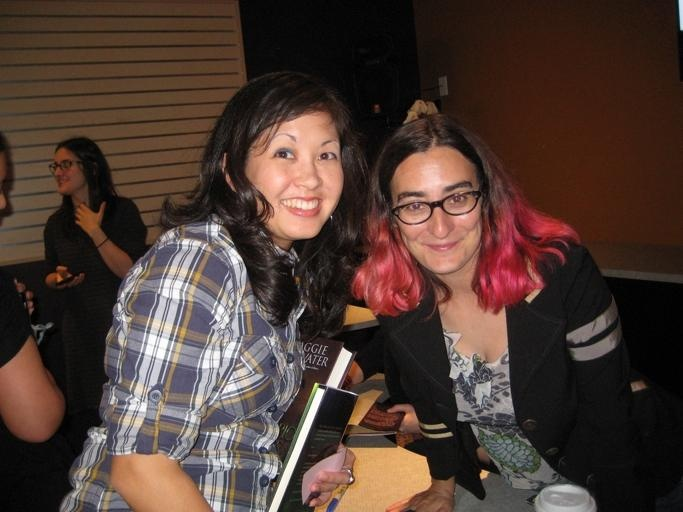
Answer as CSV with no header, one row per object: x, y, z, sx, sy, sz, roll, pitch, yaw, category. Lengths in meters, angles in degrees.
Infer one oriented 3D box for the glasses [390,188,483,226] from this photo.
0.342,-0.173,1.918,0.308,0.127,0.091,4,13,9,glasses

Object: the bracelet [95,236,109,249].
-1.373,-0.077,3.044,0.058,0.043,0.058,0,-7,5,bracelet
